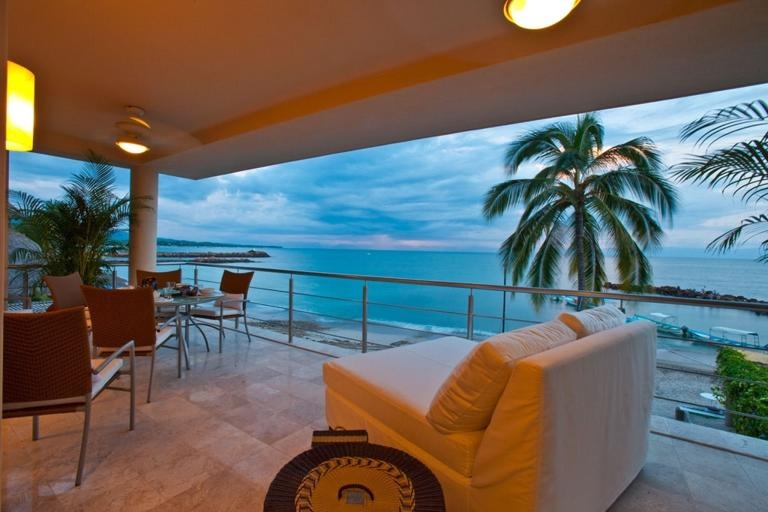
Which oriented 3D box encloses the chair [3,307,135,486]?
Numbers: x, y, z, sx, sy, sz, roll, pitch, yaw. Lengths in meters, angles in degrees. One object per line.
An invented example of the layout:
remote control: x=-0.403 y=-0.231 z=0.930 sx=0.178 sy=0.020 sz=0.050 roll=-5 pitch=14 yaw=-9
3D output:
chair: x=-2.428 y=1.055 z=3.419 sx=0.491 sy=1.524 sz=0.796 roll=1 pitch=-1 yaw=44

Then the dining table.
dining table: x=-2.212 y=0.780 z=5.089 sx=0.768 sy=0.422 sz=0.729 roll=-2 pitch=6 yaw=-26

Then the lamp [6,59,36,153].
lamp: x=-2.799 y=-1.162 z=3.429 sx=0.161 sy=0.769 sz=0.397 roll=3 pitch=-1 yaw=-39
